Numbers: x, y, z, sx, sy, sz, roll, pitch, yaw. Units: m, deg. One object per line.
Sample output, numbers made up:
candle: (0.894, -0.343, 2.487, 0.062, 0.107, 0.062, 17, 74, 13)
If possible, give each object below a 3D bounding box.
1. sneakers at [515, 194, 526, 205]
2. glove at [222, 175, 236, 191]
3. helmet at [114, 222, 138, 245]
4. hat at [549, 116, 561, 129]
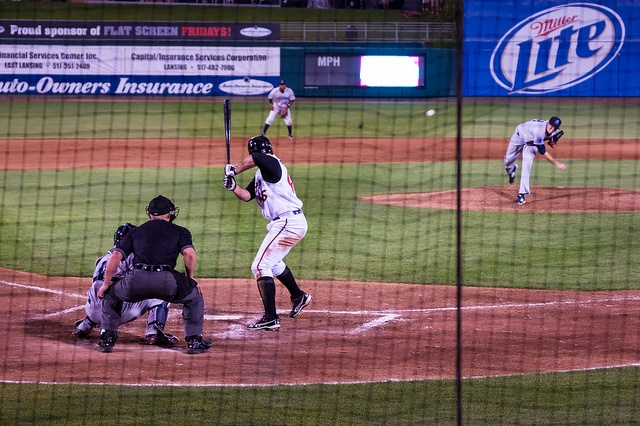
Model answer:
sneakers: (5.652, -0.374, 31.982, 0.287, 0.275, 0.288, -1, 0, 7)
glove: (-2.094, -0.687, 26.043, 0.286, 0.359, 0.291, -1, 0, 0)
helmet: (-4.460, 0.426, 25.499, 0.576, 0.462, 0.571, 3, 17, -3)
hat: (6.633, -2.520, 31.901, 0.278, 0.354, 0.700, -1, 0, 11)
